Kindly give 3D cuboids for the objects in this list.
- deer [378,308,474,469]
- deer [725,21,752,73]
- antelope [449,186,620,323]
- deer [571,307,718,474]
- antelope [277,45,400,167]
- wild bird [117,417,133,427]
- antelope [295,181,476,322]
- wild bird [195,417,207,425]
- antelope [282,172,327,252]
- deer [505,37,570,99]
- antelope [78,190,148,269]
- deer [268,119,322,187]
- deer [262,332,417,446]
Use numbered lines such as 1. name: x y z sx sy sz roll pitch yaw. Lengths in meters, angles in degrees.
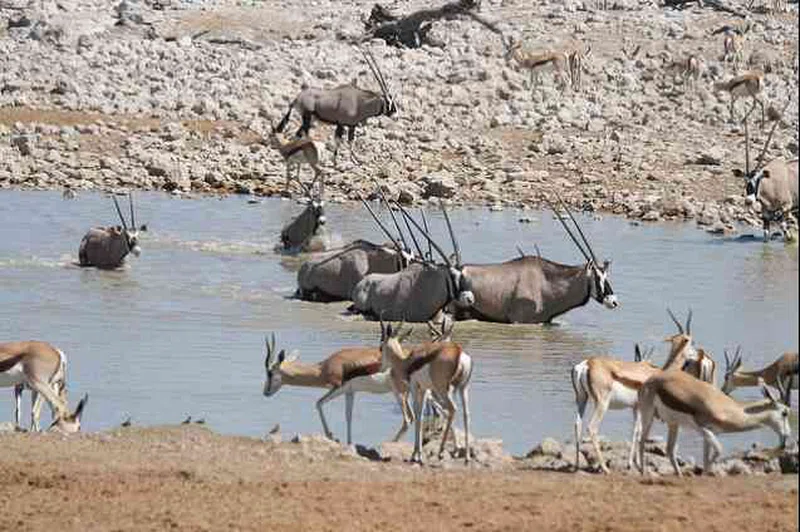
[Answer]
1. deer: 0.480 1.981 23.378 1.526 2.153 0.759 5 5 29
2. deer: 11.499 -7.525 50.020 0.571 1.418 2.031 5 12 30
3. antelope: 2.377 0.350 28.944 4.218 3.348 1.237 -1 -1 28
4. deer: 3.945 1.956 24.076 2.315 2.352 2.171 2 10 1
5. antelope: -1.718 -4.277 39.732 3.779 3.016 1.125 6 8 23
6. wild bird: -4.417 2.530 23.999 0.276 0.167 0.090 -20 -15 27
7. antelope: -0.665 -0.166 28.155 2.180 2.298 5.549 1 -1 -19
8. wild bird: -3.245 2.518 24.094 0.216 0.132 0.071 11 1 35
9. antelope: -2.078 -1.223 33.433 1.055 1.698 0.721 3 1 18
10. deer: 4.586 -6.750 47.477 1.749 2.197 4.095 2 1 -12
11. antelope: -6.235 -0.505 31.908 1.546 1.059 0.614 6 5 36
12. deer: -2.829 -3.035 39.809 1.293 2.265 3.107 6 -4 -12
13. deer: -1.077 2.100 24.040 1.746 2.041 3.430 1 -1 -27
